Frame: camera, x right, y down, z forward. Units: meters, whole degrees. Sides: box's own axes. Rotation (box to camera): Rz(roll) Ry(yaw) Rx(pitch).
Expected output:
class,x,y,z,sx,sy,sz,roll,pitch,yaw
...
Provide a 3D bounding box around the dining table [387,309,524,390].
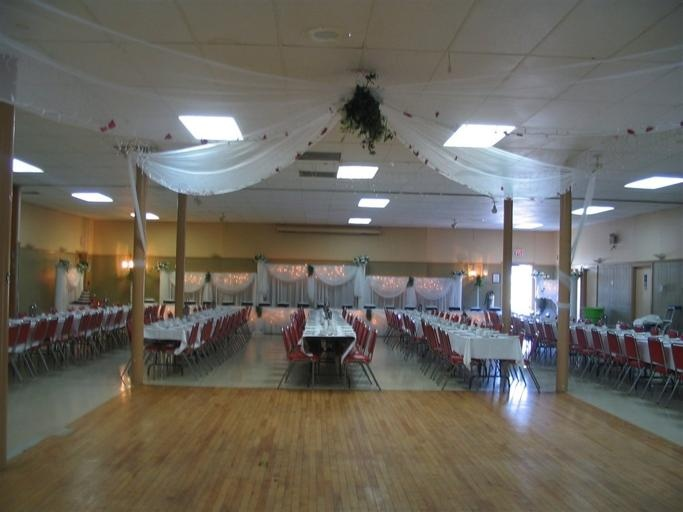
class,x,y,z,sx,sy,sz,roll,pitch,yaw
dining table,2.325,2.019,11.216,1.434,1.285,4.869,1,2,-8

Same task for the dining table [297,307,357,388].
class,x,y,z,sx,sy,sz,roll,pitch,yaw
dining table,-0.308,1.957,10.445,1.005,1.143,3.355,1,2,-3
